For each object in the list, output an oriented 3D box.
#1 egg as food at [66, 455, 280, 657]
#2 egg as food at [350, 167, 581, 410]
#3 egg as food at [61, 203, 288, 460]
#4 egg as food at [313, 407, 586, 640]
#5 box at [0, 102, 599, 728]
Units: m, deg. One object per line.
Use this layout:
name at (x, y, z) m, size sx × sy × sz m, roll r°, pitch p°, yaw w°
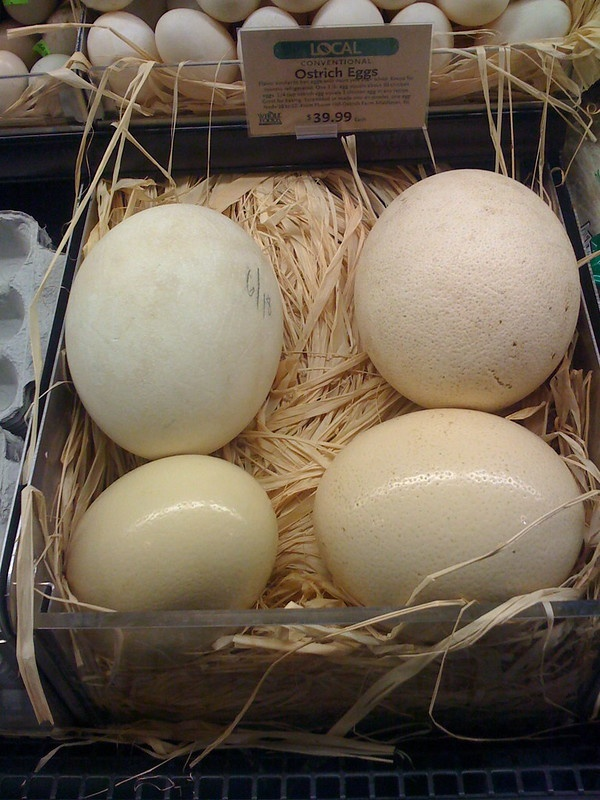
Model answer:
egg as food at (-0.109, 0.137, 0.750) m, size 0.196 × 0.130 × 0.139 m, roll -15°, pitch 11°, yaw -18°
egg as food at (0.192, -0.124, 0.870) m, size 0.252 × 0.264 × 0.262 m, roll -4°, pitch -5°, yaw 44°
egg as food at (-0.164, -0.083, 0.862) m, size 0.269 × 0.283 × 0.269 m, roll -1°, pitch 3°, yaw 29°
egg as food at (0.156, 0.108, 0.783) m, size 0.275 × 0.191 × 0.206 m, roll 9°, pitch 4°, yaw -8°
box at (0.015, 0.100, 1.084) m, size 0.720 × 0.442 × 0.686 m, roll -1°, pitch 57°, yaw 1°
